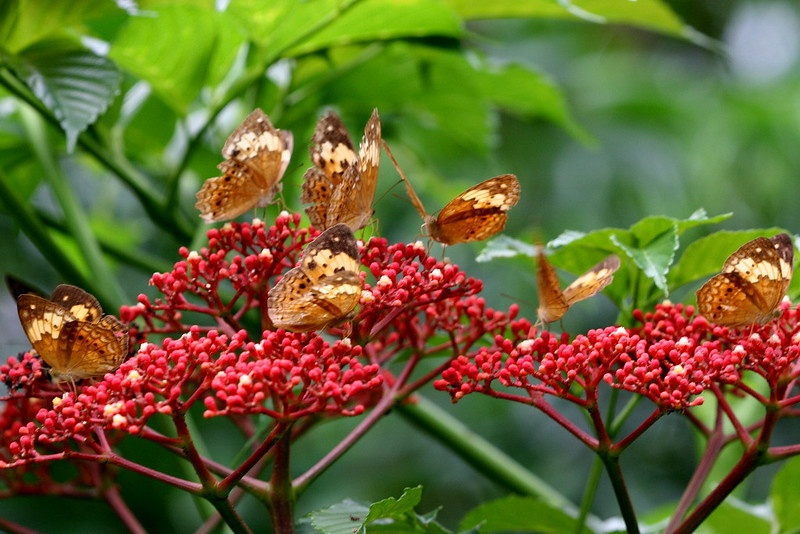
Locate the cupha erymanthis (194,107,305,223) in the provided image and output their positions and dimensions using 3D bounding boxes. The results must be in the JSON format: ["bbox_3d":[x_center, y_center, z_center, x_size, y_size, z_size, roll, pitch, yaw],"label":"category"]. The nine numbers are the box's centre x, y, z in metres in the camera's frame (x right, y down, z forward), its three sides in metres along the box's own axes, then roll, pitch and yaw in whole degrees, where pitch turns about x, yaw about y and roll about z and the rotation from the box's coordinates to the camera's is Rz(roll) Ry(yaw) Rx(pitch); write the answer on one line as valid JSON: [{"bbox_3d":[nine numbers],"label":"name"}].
[{"bbox_3d":[-0.606,-0.346,3.434,0.429,0.283,0.430,-24,3,-14],"label":"cupha erymanthis"}]

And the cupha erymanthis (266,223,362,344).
[{"bbox_3d":[-0.245,0.031,3.105,0.337,0.394,0.444,1,17,13],"label":"cupha erymanthis"}]

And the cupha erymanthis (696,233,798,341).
[{"bbox_3d":[1.286,0.056,3.115,0.322,0.319,0.359,1,3,38],"label":"cupha erymanthis"}]

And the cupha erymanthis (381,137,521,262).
[{"bbox_3d":[0.156,-0.258,3.408,0.566,0.495,0.514,20,12,10],"label":"cupha erymanthis"}]

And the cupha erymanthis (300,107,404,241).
[{"bbox_3d":[-0.223,-0.313,3.373,0.295,0.324,0.511,-9,62,-1],"label":"cupha erymanthis"}]

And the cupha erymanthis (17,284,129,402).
[{"bbox_3d":[-1.214,0.298,3.164,0.365,0.300,0.401,3,-16,-12],"label":"cupha erymanthis"}]
